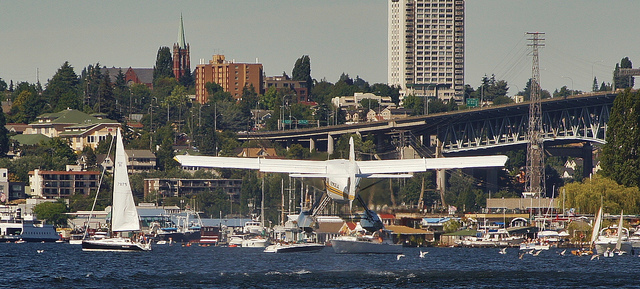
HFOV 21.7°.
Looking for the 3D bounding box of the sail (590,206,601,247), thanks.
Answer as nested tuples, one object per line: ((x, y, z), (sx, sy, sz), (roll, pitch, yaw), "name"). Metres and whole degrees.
((65.327, 19.101, 395.088), (0.666, 10.255, 1.776), (23, -12, 5), "sail")

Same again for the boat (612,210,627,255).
((70.879, 20.757, 395.200), (2.605, 9.496, 13.018), (-2, -6, 9), "boat")

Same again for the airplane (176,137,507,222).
((4.389, 4.961, 381.258), (67.890, 15.128, 9.472), (-1, -6, -3), "airplane")

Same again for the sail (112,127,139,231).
((-47.899, 7.687, 403.605), (5.300, 25.046, 2.670), (0, -6, -11), "sail")
